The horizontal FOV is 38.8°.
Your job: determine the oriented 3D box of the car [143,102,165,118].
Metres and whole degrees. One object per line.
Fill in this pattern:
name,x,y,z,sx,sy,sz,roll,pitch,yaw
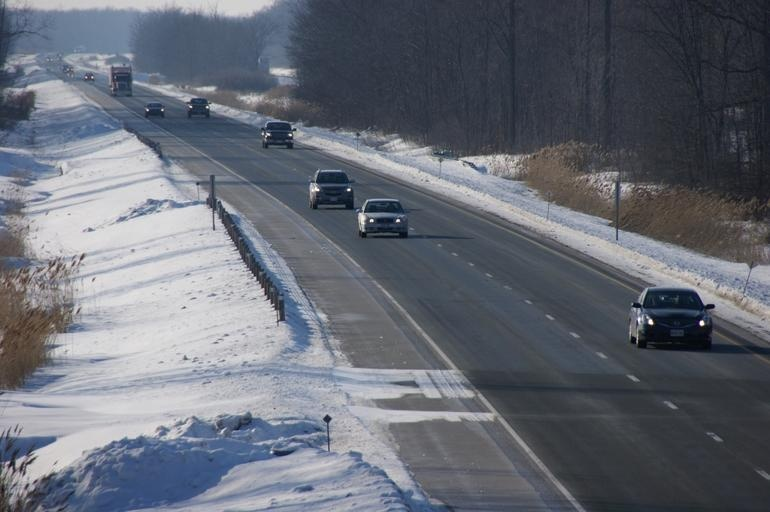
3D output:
car,-21.743,-13.842,104.347,1.620,1.256,1.572,-3,15,-3

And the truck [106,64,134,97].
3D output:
truck,-31.408,-21.024,131.448,2.506,3.684,2.902,-6,15,-13

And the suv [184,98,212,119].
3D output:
suv,-18.165,-14.649,108.001,1.946,1.890,1.823,-3,15,-2

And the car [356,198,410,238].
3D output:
car,-0.030,-1.799,52.975,2.231,1.810,1.262,-4,15,-7
